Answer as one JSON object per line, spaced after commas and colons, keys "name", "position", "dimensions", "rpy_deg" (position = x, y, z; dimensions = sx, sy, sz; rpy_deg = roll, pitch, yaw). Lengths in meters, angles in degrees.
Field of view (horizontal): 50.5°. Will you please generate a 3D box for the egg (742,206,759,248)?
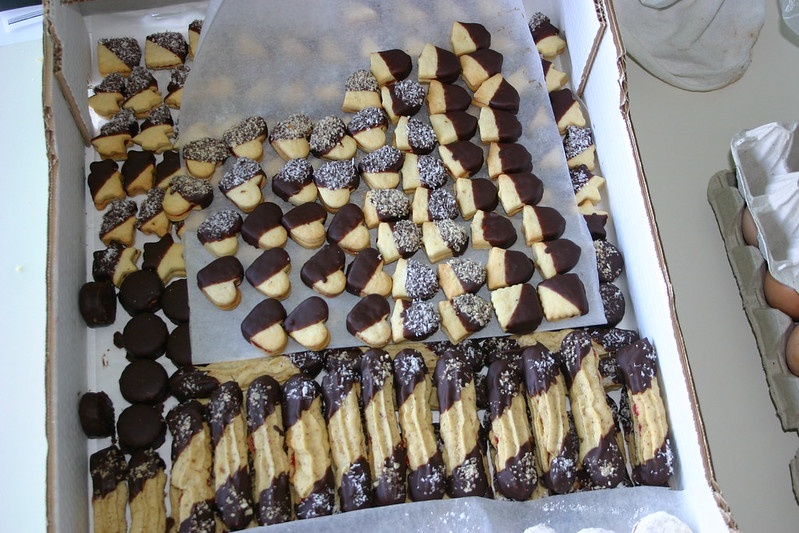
{"name": "egg", "position": [1.393, -0.154, 3.389], "dimensions": [0.044, 0.103, 0.126], "rpy_deg": [0, 76, 4]}
